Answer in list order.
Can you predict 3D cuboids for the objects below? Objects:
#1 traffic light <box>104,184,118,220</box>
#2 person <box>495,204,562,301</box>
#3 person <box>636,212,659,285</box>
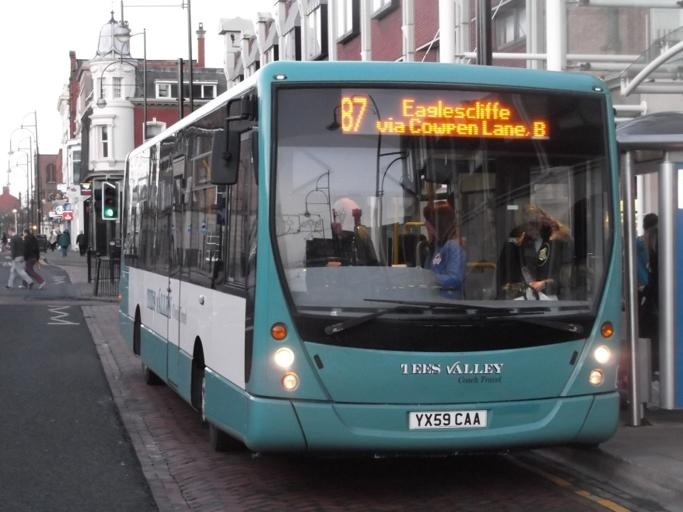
[{"bbox_3d":[-7.127,-1.690,24.716,0.455,1.323,0.458,1,-25,-16],"label":"traffic light"},{"bbox_3d":[1.559,0.192,6.525,0.509,1.315,0.301,7,28,26],"label":"person"},{"bbox_3d":[3.530,-0.050,9.230,0.204,0.876,0.706,0,2,21],"label":"person"}]
